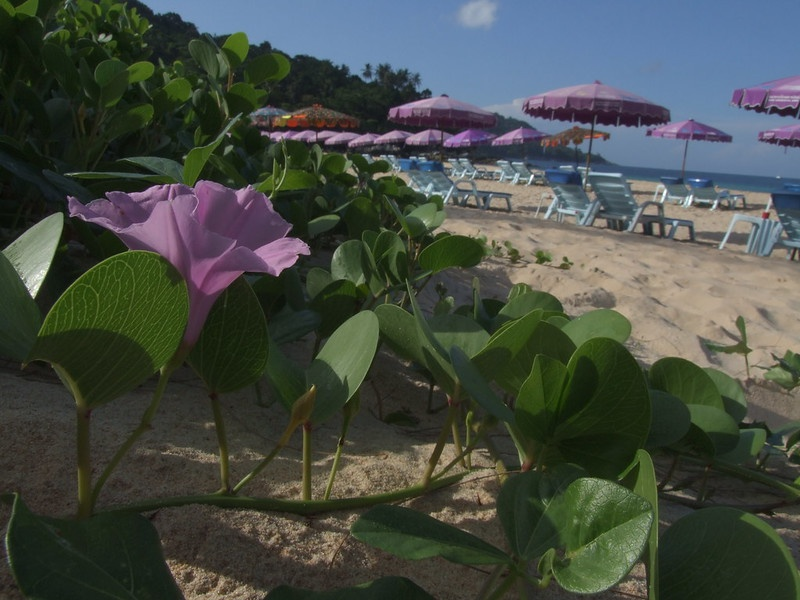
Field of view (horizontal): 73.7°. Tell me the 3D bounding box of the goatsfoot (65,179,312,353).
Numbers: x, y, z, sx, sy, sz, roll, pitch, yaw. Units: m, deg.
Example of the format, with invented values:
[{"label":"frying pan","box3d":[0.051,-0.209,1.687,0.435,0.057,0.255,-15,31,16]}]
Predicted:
[{"label":"goatsfoot","box3d":[-0.272,-0.076,0.805,0.266,0.190,0.273,24,1,19]}]
